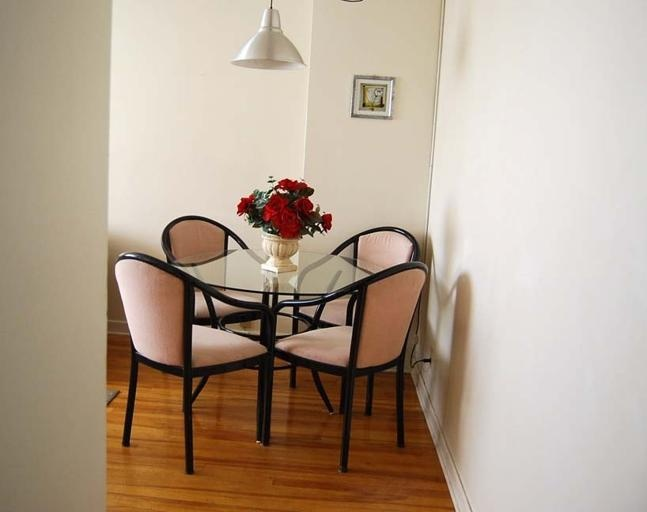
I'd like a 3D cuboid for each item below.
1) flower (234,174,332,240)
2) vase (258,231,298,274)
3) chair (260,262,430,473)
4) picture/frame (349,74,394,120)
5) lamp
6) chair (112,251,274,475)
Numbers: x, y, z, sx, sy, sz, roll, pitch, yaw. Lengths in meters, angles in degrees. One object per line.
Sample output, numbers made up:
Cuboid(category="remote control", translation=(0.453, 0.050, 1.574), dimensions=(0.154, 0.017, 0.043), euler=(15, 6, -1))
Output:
Cuboid(category="flower", translation=(-0.195, -0.234, 2.775), dimensions=(0.394, 0.294, 0.287), euler=(9, 11, 29))
Cuboid(category="vase", translation=(-0.223, -0.041, 2.852), dimensions=(0.178, 0.227, 0.200), euler=(15, 16, 38))
Cuboid(category="chair", translation=(0.119, 0.448, 2.576), dimensions=(0.601, 0.985, 0.618), euler=(13, 16, 41))
Cuboid(category="picture/frame", translation=(0.294, -0.987, 3.412), dimensions=(0.214, 0.255, 0.024), euler=(3, 17, -2))
Cuboid(category="lamp", translation=(-0.275, -1.101, 2.792), dimensions=(0.357, 0.286, 0.356), euler=(2, 9, -11))
Cuboid(category="chair", translation=(-0.554, 0.399, 2.420), dimensions=(0.548, 0.902, 0.606), euler=(7, 13, 11))
